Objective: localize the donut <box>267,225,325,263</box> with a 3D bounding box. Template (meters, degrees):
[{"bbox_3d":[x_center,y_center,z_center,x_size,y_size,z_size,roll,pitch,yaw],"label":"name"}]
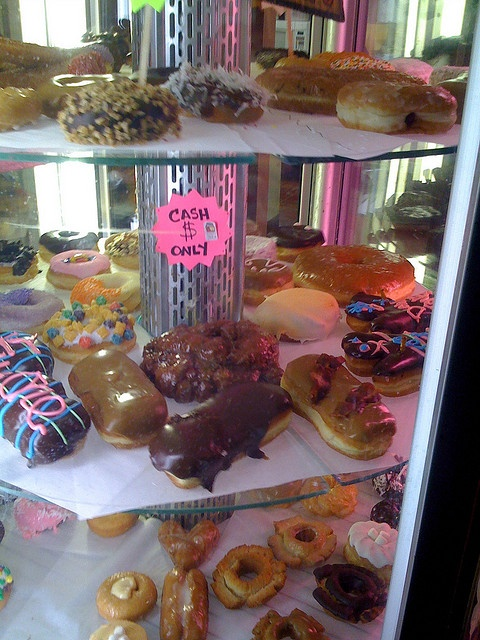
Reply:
[{"bbox_3d":[0.171,-0.245,1.370,0.128,0.045,0.130,-18,28,-34],"label":"donut"}]

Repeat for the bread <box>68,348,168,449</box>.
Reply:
[{"bbox_3d":[-0.165,0.094,0.656,0.093,0.056,0.156,-12,33,-33],"label":"bread"}]

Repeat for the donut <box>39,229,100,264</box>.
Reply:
[{"bbox_3d":[-0.467,-0.221,1.284,0.116,0.041,0.112,12,21,29],"label":"donut"}]

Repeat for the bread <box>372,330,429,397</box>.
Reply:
[{"bbox_3d":[0.257,0.075,0.747,0.044,0.036,0.107,16,30,33],"label":"bread"}]

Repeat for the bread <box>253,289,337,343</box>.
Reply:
[{"bbox_3d":[0.118,-0.012,0.929,0.125,0.056,0.123,-15,28,-22],"label":"bread"}]

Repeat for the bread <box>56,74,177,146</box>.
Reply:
[{"bbox_3d":[-0.136,-0.210,0.502,0.091,0.043,0.104,4,18,9],"label":"bread"}]

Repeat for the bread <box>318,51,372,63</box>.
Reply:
[{"bbox_3d":[0.246,-0.616,1.075,0.088,0.019,0.067,-6,21,-14],"label":"bread"}]

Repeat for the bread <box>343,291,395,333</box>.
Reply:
[{"bbox_3d":[0.272,-0.029,0.984,0.086,0.032,0.084,18,35,41],"label":"bread"}]

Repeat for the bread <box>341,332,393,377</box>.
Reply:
[{"bbox_3d":[0.231,0.067,0.858,0.093,0.033,0.067,-12,39,-18],"label":"bread"}]

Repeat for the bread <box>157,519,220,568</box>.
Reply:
[{"bbox_3d":[-0.118,0.511,1.071,0.106,0.036,0.097,2,11,-8],"label":"bread"}]

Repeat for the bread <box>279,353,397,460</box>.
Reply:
[{"bbox_3d":[0.137,0.133,0.696,0.100,0.057,0.163,-13,31,-33],"label":"bread"}]

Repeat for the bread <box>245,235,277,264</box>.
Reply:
[{"bbox_3d":[0.058,-0.203,1.287,0.100,0.031,0.093,16,27,30],"label":"bread"}]

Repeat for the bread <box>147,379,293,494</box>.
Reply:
[{"bbox_3d":[-0.024,0.133,0.584,0.098,0.050,0.153,21,30,40],"label":"bread"}]

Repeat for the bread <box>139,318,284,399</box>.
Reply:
[{"bbox_3d":[-0.023,0.039,0.726,0.165,0.053,0.132,-10,21,-42],"label":"bread"}]
